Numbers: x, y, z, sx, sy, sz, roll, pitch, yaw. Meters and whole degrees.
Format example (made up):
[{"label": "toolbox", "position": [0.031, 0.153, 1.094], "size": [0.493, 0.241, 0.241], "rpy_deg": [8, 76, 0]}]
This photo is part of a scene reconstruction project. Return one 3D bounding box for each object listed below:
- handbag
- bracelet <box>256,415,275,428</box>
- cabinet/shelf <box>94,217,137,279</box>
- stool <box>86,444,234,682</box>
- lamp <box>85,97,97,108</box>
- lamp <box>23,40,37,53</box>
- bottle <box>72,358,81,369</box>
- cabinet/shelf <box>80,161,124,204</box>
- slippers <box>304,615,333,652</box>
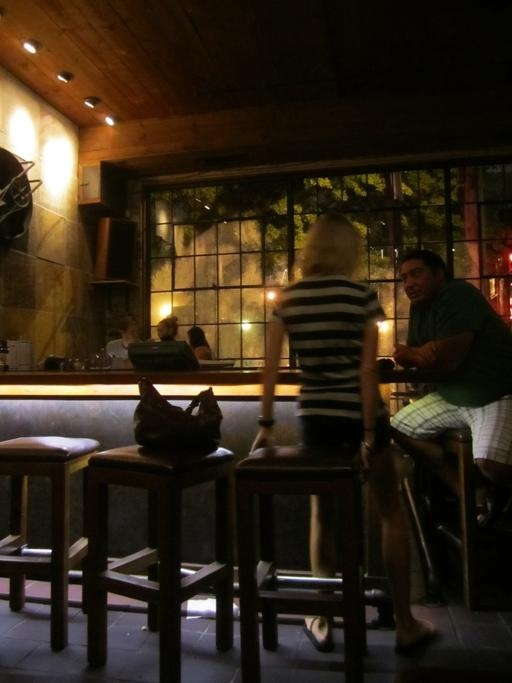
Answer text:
[{"label": "handbag", "position": [-0.217, 0.170, 1.869], "size": [0.312, 0.257, 0.177], "rpy_deg": [3, -7, -6]}, {"label": "bracelet", "position": [0.029, 0.232, 1.801], "size": [0.036, 0.020, 0.035], "rpy_deg": [4, -3, -15]}, {"label": "cabinet/shelf", "position": [-1.416, -0.905, 6.181], "size": [0.270, 0.634, 0.369], "rpy_deg": [1, -1, 17]}, {"label": "stool", "position": [-0.260, 0.646, 1.875], "size": [0.500, 0.656, 0.601], "rpy_deg": [1, -1, -15]}, {"label": "lamp", "position": [-1.430, -2.059, 5.330], "size": [0.080, 0.046, 0.079], "rpy_deg": [-3, 14, -33]}, {"label": "lamp", "position": [-1.603, -2.090, 4.404], "size": [0.078, 0.057, 0.108], "rpy_deg": [10, 6, 0]}, {"label": "bottle", "position": [-1.295, 0.155, 4.446], "size": [0.039, 0.055, 0.036], "rpy_deg": [0, -8, 0]}, {"label": "cabinet/shelf", "position": [-1.462, -1.499, 6.059], "size": [0.352, 0.458, 0.661], "rpy_deg": [4, 7, 7]}, {"label": "slippers", "position": [0.203, 0.937, 2.002], "size": [0.057, 0.067, 0.120], "rpy_deg": [1, -2, -3]}]
